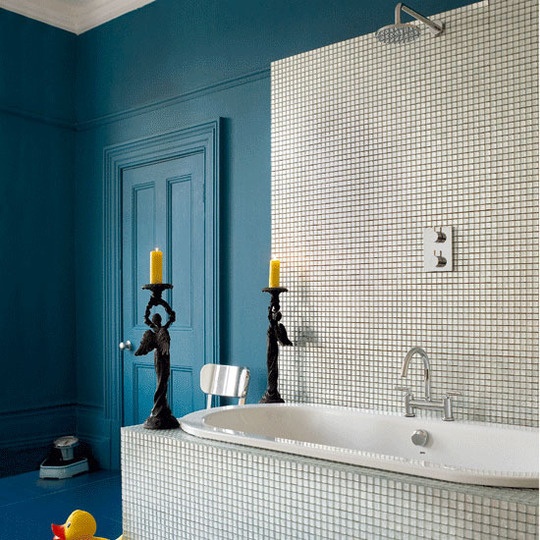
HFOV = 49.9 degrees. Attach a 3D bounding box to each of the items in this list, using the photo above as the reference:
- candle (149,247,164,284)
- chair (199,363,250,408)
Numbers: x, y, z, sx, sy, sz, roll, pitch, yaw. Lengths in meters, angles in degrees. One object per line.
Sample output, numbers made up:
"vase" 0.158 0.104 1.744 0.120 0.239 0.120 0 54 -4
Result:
"candle" -0.453 -0.007 2.327 0.053 0.138 0.075 -4 1 -10
"chair" -0.220 0.572 2.844 0.188 0.313 0.219 -1 -8 17
